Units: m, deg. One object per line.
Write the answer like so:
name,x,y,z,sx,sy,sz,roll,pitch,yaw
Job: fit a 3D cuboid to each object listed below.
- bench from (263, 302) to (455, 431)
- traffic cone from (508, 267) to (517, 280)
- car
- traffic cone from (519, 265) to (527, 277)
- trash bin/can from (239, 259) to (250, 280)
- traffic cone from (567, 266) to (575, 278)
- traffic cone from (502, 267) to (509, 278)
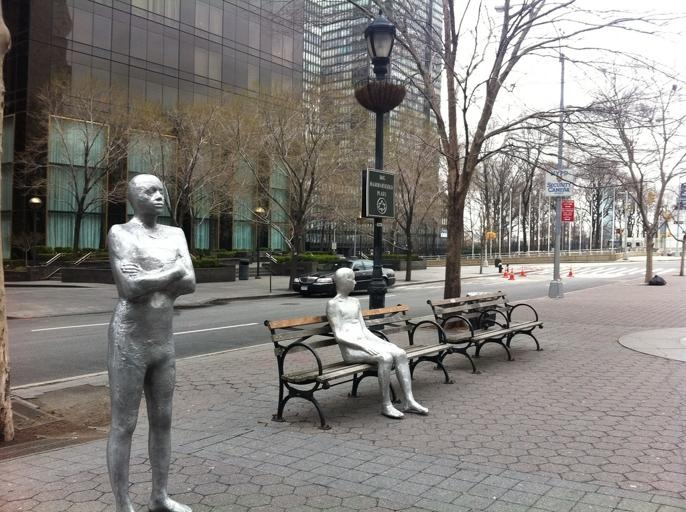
bench,0.426,1.579,9.783,1.117,1.352,3.335,-1,0,38
traffic cone,11.759,1.316,45.571,0.696,0.769,0.727,-1,-4,-7
car,-0.143,0.987,28.042,1.816,1.167,4.208,-3,-4,41
traffic cone,13.768,1.265,50.155,0.602,0.633,0.568,-4,3,14
trash bin/can,-5.464,0.810,35.961,0.517,0.913,0.821,-3,1,-13
traffic cone,16.308,1.240,46.871,0.638,0.679,0.622,-2,0,41
traffic cone,11.321,1.261,45.590,0.624,0.674,0.668,-1,-4,-2
